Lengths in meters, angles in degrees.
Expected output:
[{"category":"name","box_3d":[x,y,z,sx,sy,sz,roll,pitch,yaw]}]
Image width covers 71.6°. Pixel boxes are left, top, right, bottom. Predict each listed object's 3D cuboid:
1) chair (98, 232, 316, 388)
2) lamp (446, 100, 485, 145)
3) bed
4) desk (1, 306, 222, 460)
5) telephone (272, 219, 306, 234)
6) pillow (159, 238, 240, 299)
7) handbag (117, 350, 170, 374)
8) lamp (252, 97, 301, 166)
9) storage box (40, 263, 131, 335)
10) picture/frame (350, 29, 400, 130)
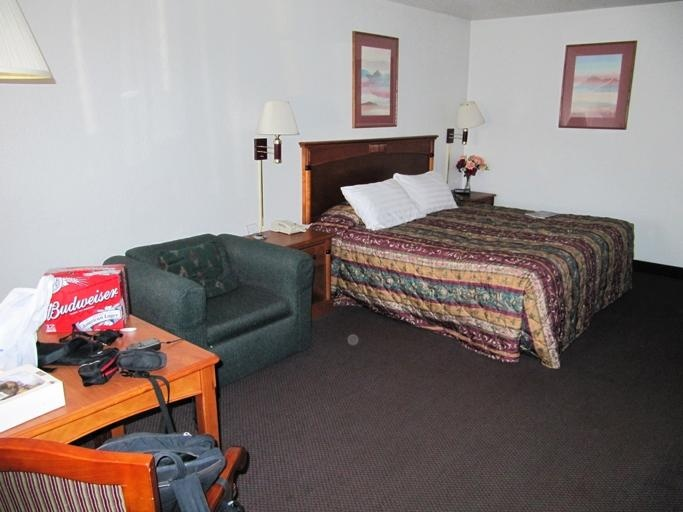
[{"category":"chair","box_3d":[-1.043,0.258,3.599,1.134,0.803,1.251,17,23,36]},{"category":"lamp","box_3d":[1.575,-1.699,6.259,0.348,0.420,0.445,-3,14,13]},{"category":"bed","box_3d":[1.041,-0.107,4.599,2.556,1.497,2.516,17,30,36]},{"category":"desk","box_3d":[-0.901,0.593,2.062,0.651,0.629,0.670,14,24,27]},{"category":"telephone","box_3d":[-0.434,-0.279,4.459,0.178,0.065,0.179,24,29,38]},{"category":"pillow","box_3d":[-1.058,0.098,3.699,0.141,0.454,0.493,-28,-4,41]},{"category":"handbag","box_3d":[-0.878,0.468,2.124,0.144,0.034,0.108,3,37,-17]},{"category":"lamp","box_3d":[-0.559,-1.083,4.257,0.408,0.486,0.398,-5,10,-37]},{"category":"storage box","box_3d":[-1.299,0.256,2.510,0.391,0.273,0.223,-4,-11,-8]},{"category":"picture/frame","box_3d":[0.341,-1.982,5.221,0.080,1.123,1.052,11,17,36]}]
